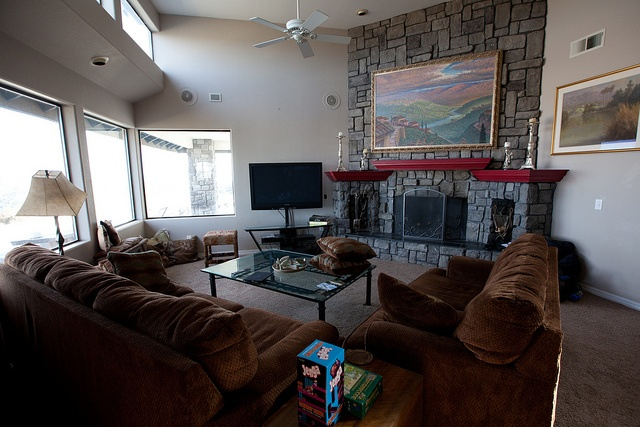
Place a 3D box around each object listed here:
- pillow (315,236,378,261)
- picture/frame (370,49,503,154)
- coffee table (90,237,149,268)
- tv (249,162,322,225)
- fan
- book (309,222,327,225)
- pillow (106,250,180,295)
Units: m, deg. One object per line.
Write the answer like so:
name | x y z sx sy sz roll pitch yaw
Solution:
pillow | 0.353 0.431 4.970 0.401 0.150 0.379 10 5 -24
picture/frame | 1.886 -1.771 6.393 1.942 1.226 0.071 3 11 31
coffee table | -2.698 0.494 5.648 0.538 0.183 0.513 0 8 11
tv | -0.619 -0.391 7.024 1.211 0.968 0.197 -1 13 -4
fan | -0.259 -2.128 4.905 1.072 0.293 0.900 0 6 31
book | -0.028 0.175 6.937 0.308 0.043 0.212 -3 5 1
pillow | -1.853 0.599 4.301 0.166 0.494 0.559 -39 -23 34
